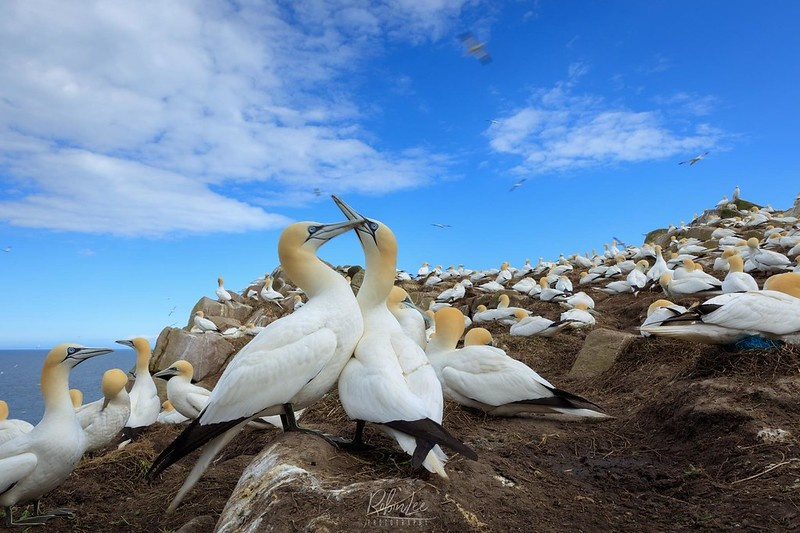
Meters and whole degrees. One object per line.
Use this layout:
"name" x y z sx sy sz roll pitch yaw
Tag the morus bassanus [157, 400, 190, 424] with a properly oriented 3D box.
"morus bassanus" -5.810 3.752 11.931 0.994 0.589 0.664 -13 -24 20
